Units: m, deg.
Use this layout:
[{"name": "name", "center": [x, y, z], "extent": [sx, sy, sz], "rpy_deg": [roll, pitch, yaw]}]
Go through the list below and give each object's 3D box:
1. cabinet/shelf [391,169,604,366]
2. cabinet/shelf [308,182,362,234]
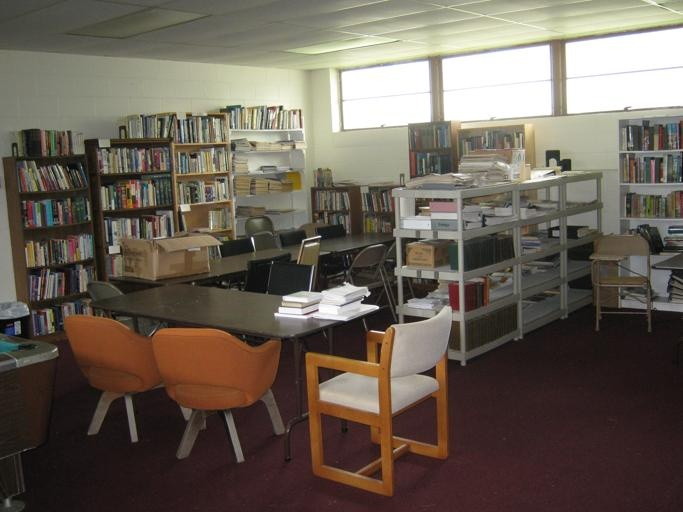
[{"name": "cabinet/shelf", "center": [1.681, 0.144, 5.577], "extent": [0.743, 1.140, 2.495], "rpy_deg": [5, 12, 39]}, {"name": "cabinet/shelf", "center": [-0.076, -0.812, 9.046], "extent": [1.169, 1.064, 0.420], "rpy_deg": [2, 5, 36]}]
